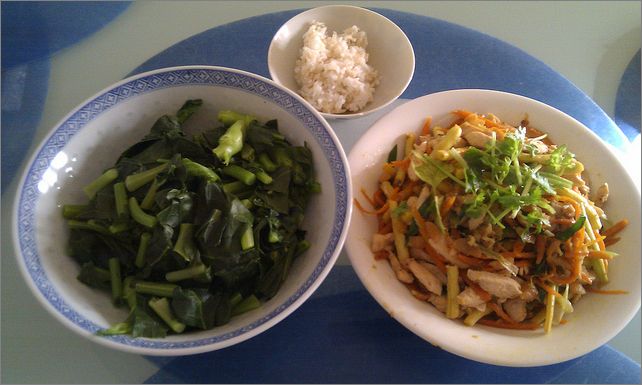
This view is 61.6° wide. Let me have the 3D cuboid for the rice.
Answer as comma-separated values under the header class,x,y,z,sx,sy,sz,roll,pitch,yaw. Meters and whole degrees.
class,x,y,z,sx,sy,sz,roll,pitch,yaw
rice,0.141,-1.011,4.395,0.747,0.298,0.767,0,87,-13
